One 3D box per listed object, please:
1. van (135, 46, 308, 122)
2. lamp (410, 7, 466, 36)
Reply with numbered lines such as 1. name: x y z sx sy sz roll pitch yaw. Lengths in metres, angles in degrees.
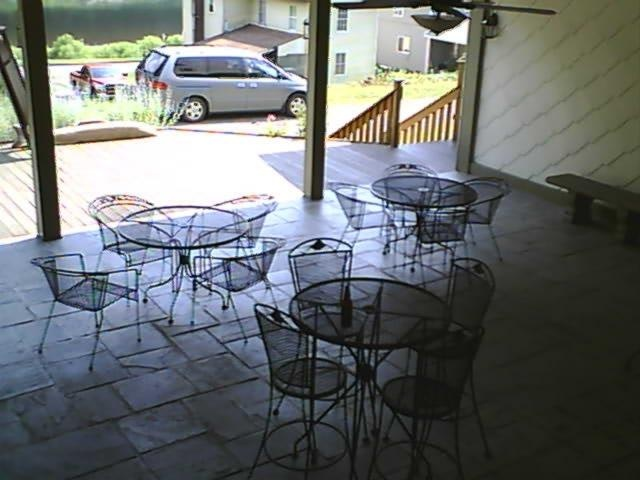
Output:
1. van: -2.216 -3.752 13.043 4.368 1.244 1.755 -6 27 -20
2. lamp: 0.876 -1.611 4.002 0.413 0.184 0.348 3 24 6
